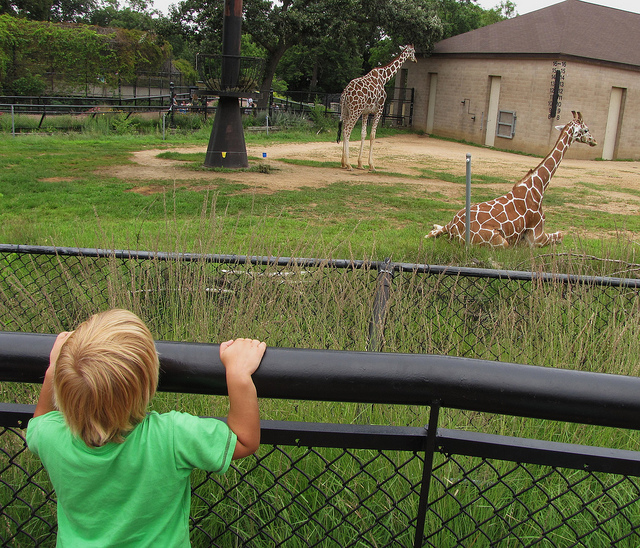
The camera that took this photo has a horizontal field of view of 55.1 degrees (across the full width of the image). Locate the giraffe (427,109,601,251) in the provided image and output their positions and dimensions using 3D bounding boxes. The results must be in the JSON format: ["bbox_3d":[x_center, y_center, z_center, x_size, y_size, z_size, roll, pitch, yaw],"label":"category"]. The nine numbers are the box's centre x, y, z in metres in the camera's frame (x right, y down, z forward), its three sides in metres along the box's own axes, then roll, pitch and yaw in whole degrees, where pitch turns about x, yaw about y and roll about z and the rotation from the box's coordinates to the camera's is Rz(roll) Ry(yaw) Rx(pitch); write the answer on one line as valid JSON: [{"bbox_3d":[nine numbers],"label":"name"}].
[{"bbox_3d":[2.615,-1.128,8.126,2.074,2.202,0.981,-1,9,-6],"label":"giraffe"}]

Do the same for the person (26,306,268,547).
[{"bbox_3d":[-0.451,0.436,1.594,0.434,0.407,1.060,10,-30,-3],"label":"person"}]
